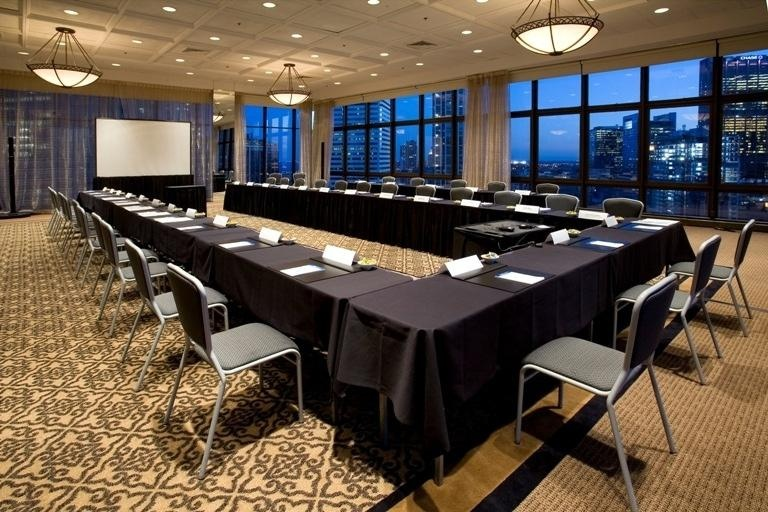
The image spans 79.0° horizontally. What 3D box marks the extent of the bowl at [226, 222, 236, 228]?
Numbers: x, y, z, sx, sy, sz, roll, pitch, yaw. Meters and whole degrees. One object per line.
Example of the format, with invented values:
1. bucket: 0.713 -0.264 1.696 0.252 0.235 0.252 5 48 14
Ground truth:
1. bowl: -1.886 -0.395 5.812 0.139 0.036 0.134 0 10 0
